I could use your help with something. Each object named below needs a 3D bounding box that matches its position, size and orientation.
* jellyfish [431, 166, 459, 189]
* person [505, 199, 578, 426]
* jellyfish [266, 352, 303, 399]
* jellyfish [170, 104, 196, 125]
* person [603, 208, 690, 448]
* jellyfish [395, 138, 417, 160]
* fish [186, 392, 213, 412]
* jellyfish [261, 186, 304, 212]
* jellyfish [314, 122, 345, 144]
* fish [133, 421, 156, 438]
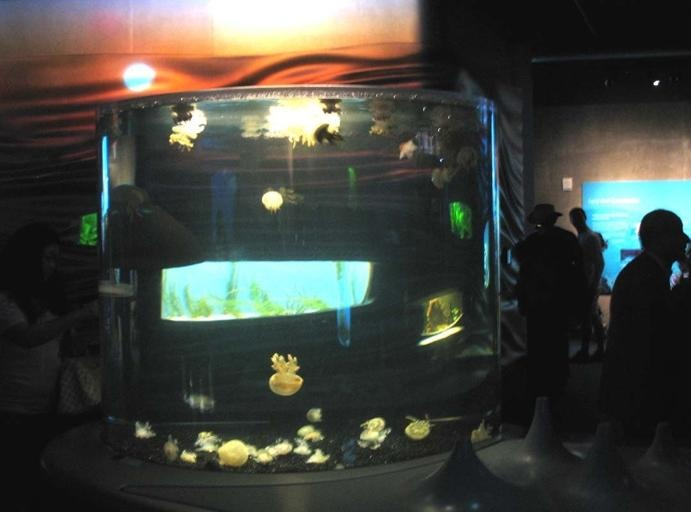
[{"bbox_3d":[0.345,-0.272,2.413,0.106,0.074,0.015,-3,4,-33],"label":"jellyfish"},{"bbox_3d":[0.850,0.234,2.970,0.260,0.902,0.295,1,4,34],"label":"person"},{"bbox_3d":[-0.205,0.413,2.345,0.112,0.133,0.062,-2,0,-1],"label":"jellyfish"},{"bbox_3d":[-0.555,-0.484,2.344,0.076,0.071,0.017,2,-2,3],"label":"jellyfish"},{"bbox_3d":[1.191,0.275,2.722,0.352,0.893,0.150,-2,3,-16],"label":"person"},{"bbox_3d":[0.211,-0.363,2.368,0.067,0.065,0.026,-37,9,-18],"label":"jellyfish"},{"bbox_3d":[-0.494,0.503,2.315,0.085,0.048,0.024,9,11,13],"label":"fish"},{"bbox_3d":[-0.216,-0.189,2.296,0.114,0.079,0.050,3,1,1],"label":"jellyfish"},{"bbox_3d":[-0.060,-0.411,2.325,0.096,0.067,0.014,-1,3,-5],"label":"jellyfish"},{"bbox_3d":[-0.701,0.609,2.389,0.092,0.046,0.044,1,-1,21],"label":"fish"}]
